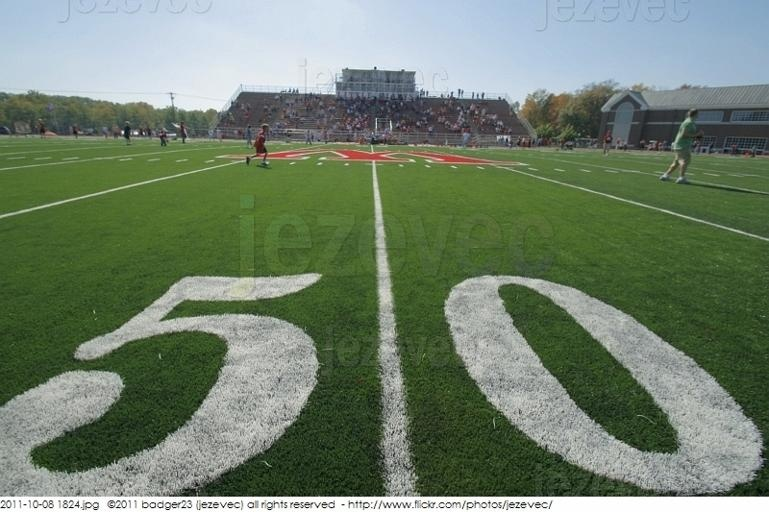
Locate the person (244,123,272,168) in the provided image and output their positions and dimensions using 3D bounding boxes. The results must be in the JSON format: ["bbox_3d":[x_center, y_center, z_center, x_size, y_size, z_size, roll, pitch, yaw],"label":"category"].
[{"bbox_3d":[-4.568,-4.063,17.847,0.942,1.475,0.771,-1,9,-30],"label":"person"}]
